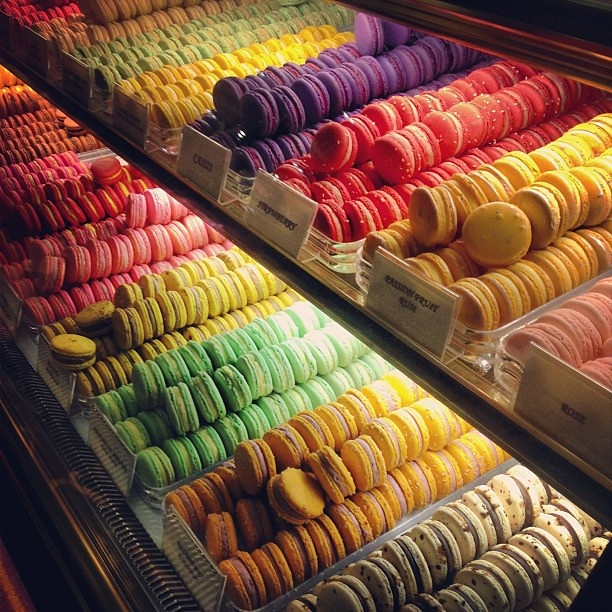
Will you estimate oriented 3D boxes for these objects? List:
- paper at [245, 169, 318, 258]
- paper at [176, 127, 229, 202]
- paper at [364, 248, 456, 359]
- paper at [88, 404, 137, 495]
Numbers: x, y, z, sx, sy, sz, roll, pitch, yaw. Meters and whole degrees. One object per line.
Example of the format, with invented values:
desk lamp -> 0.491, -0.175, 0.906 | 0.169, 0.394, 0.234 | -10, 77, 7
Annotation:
paper -> -0.057, -0.188, 1.149 | 0.018, 0.137, 0.238 | -9, 36, -43
paper -> -0.266, -0.342, 1.342 | 0.021, 0.153, 0.245 | -17, 39, -39
paper -> 0.173, 0.001, 0.894 | 0.016, 0.111, 0.203 | -12, 34, -36
paper -> -0.555, 0.410, 1.534 | 0.012, 0.150, 0.258 | -17, 48, -33
